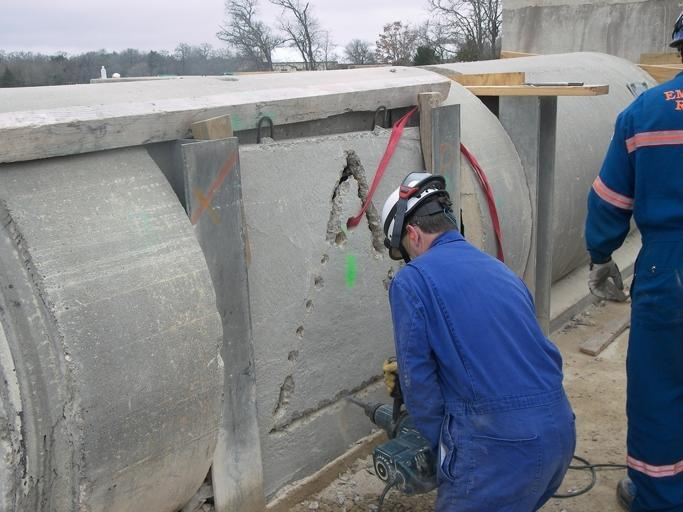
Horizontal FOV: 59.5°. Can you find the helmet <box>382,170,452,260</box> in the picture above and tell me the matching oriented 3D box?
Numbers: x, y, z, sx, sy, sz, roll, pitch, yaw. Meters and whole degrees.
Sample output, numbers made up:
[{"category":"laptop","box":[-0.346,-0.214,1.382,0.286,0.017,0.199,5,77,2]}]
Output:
[{"category":"helmet","box":[0.346,-0.195,2.738,0.295,0.363,0.361,-4,-18,-32]}]
